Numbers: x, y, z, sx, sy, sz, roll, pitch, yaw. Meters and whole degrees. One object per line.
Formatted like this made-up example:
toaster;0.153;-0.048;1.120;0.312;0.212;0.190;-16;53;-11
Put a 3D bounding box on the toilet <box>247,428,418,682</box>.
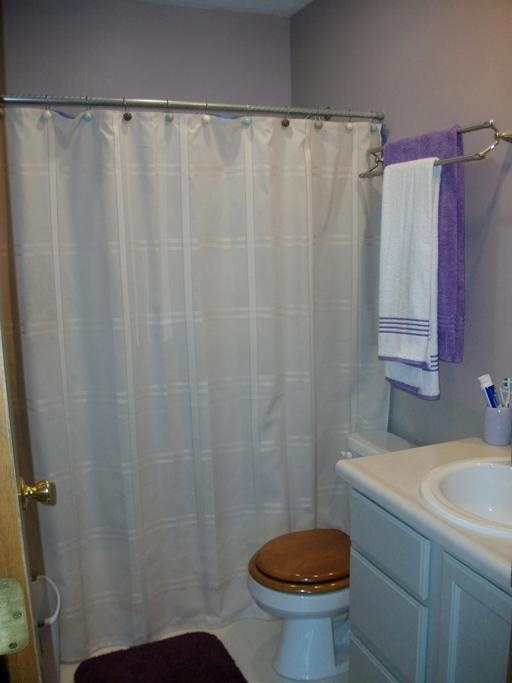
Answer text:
toilet;0.159;0.724;2.176;0.621;1.000;0.456;-2;6;-18
